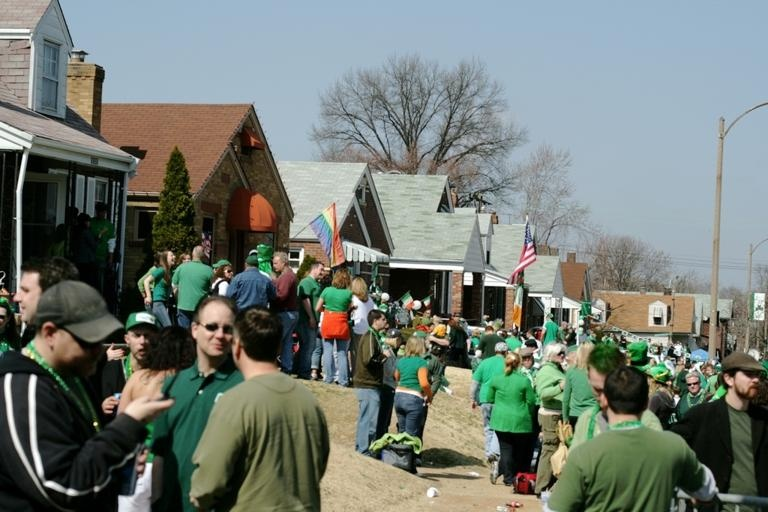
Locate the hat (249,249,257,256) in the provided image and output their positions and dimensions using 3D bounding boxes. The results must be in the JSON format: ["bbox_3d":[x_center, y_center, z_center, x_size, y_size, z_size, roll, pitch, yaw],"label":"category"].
[{"bbox_3d":[-2.708,-0.082,20.302,0.197,0.120,0.335,1,-4,0],"label":"hat"}]

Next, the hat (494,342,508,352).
[{"bbox_3d":[2.173,1.645,17.919,0.187,0.206,0.077,4,-2,9],"label":"hat"}]

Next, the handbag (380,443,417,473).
[{"bbox_3d":[0.261,3.305,16.286,0.479,0.517,0.424,12,-12,-27],"label":"handbag"}]

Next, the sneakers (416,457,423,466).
[{"bbox_3d":[0.670,3.710,17.979,0.107,0.155,0.147,3,8,5],"label":"sneakers"}]

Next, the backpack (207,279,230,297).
[{"bbox_3d":[-2.812,0.538,16.633,0.133,0.260,0.218,27,-19,-39],"label":"backpack"}]

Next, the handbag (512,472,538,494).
[{"bbox_3d":[2.309,3.612,15.871,0.285,0.312,0.309,1,-7,2],"label":"handbag"}]

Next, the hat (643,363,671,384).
[{"bbox_3d":[4.326,1.824,15.281,0.420,0.213,0.478,28,-1,19],"label":"hat"}]

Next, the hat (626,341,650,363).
[{"bbox_3d":[3.731,1.403,14.307,0.259,0.279,0.402,-1,4,1],"label":"hat"}]

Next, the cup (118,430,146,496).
[{"bbox_3d":[-2.048,1.704,7.928,0.171,0.444,0.255,4,0,-14],"label":"cup"}]

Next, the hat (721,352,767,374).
[{"bbox_3d":[3.975,1.135,10.813,0.318,0.170,0.253,0,-4,14],"label":"hat"}]

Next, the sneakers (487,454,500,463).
[{"bbox_3d":[1.938,3.509,17.206,0.178,0.095,0.146,2,-3,-4],"label":"sneakers"}]

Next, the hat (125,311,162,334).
[{"bbox_3d":[-2.620,0.680,10.634,0.286,0.241,0.498,2,-12,-4],"label":"hat"}]

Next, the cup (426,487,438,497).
[{"bbox_3d":[0.771,3.603,15.182,0.200,0.139,0.406,5,0,3],"label":"cup"}]
